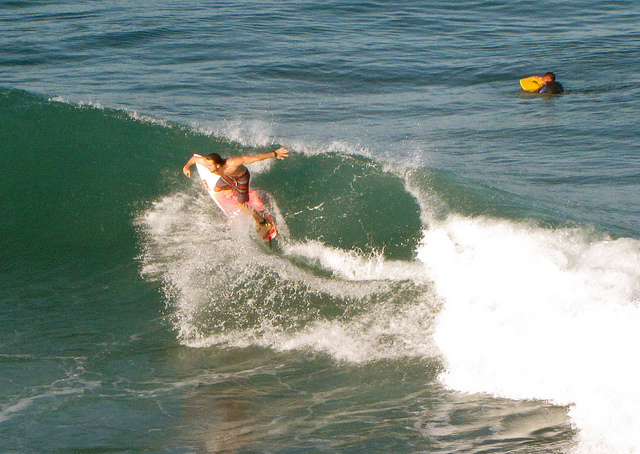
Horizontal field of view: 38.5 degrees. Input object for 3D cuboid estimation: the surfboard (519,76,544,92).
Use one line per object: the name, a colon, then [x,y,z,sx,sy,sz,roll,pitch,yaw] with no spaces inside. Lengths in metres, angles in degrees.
surfboard: [6.855,-4.698,29.994,0.439,0.387,0.806,-12,32,-33]
